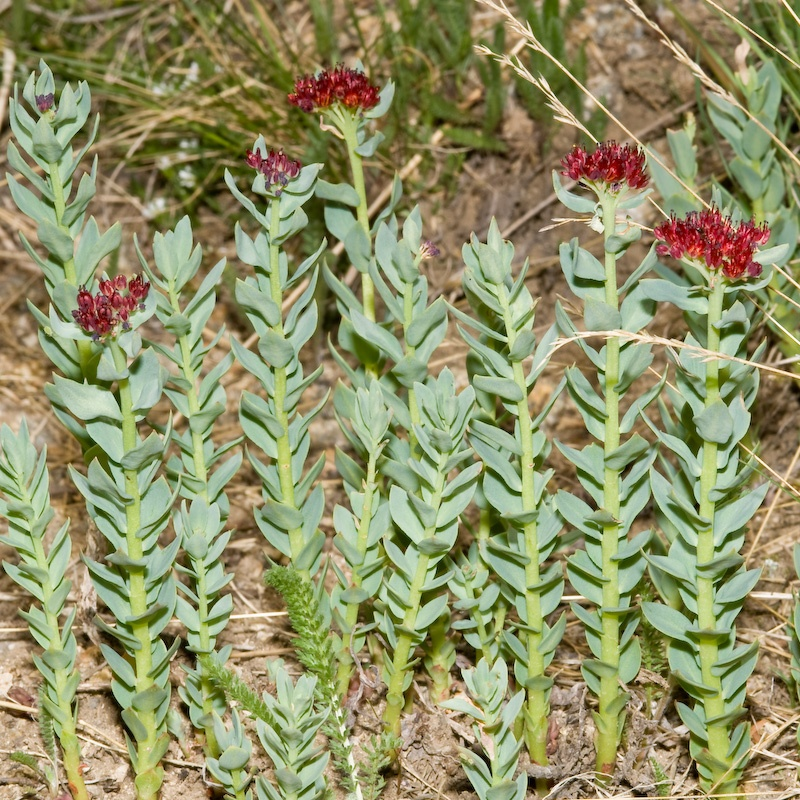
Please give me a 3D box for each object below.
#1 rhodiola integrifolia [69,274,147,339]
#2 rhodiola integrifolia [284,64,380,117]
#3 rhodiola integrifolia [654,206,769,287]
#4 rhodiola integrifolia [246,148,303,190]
[{"bbox_3d":[-0.487,-0.159,1.807,0.108,0.125,0.131,2,79,3],"label":"rhodiola integrifolia"},{"bbox_3d":[-0.123,-0.579,2.032,0.094,0.119,0.074,-14,77,36],"label":"rhodiola integrifolia"},{"bbox_3d":[0.523,-0.265,1.835,0.147,0.139,0.093,24,99,8],"label":"rhodiola integrifolia"},{"bbox_3d":[-0.231,-0.435,1.981,0.071,0.049,0.085,-24,82,-15],"label":"rhodiola integrifolia"}]
